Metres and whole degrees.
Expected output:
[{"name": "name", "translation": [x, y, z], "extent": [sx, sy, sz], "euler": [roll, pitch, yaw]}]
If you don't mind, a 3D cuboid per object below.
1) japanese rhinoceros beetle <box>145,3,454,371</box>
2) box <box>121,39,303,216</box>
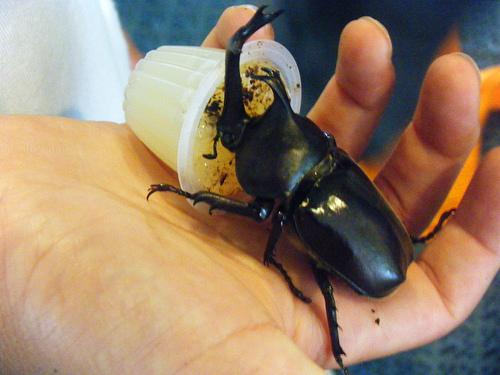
[{"name": "japanese rhinoceros beetle", "translation": [0.227, -0.099, 2.217], "extent": [0.980, 0.891, 0.529], "euler": [28, 43, 18]}, {"name": "box", "translation": [-0.150, -0.309, 2.447], "extent": [0.448, 0.736, 0.675], "euler": [6, 19, 23]}]
